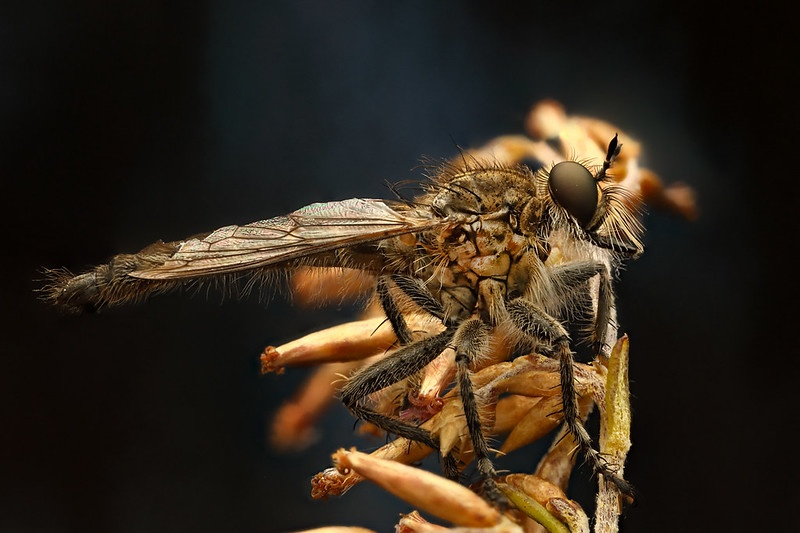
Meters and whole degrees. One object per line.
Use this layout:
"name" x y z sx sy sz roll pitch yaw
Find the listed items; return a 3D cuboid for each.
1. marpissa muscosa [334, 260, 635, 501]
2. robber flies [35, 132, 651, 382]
"marpissa muscosa" 0.237 0.308 2.529 0.834 0.786 0.191 -1 -39 12
"robber flies" -0.145 -0.085 2.988 1.900 0.734 0.781 -4 -77 2
